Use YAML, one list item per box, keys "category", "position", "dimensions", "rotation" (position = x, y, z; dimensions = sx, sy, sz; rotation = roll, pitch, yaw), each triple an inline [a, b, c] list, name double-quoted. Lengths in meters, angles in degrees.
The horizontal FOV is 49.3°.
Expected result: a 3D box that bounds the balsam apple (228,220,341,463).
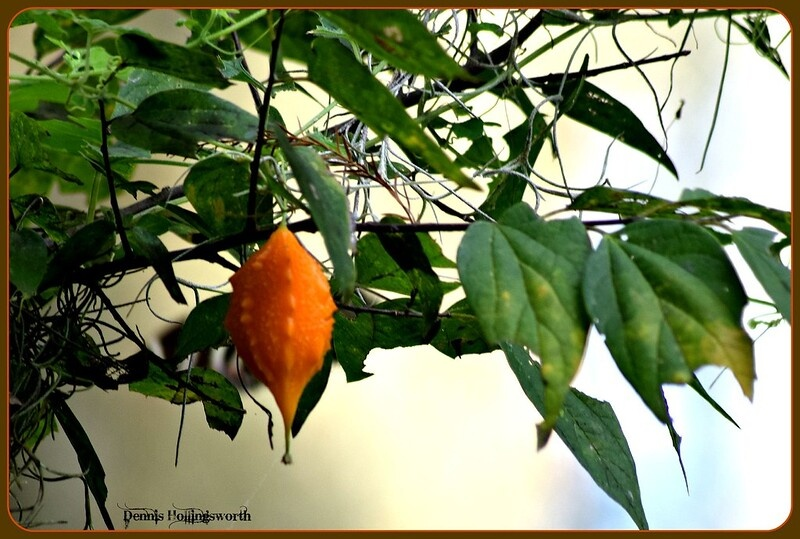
- category: "balsam apple"
  position: [-0.084, 0.058, 0.676]
  dimensions: [0.070, 0.168, 0.071]
  rotation: [-5, -8, 7]
